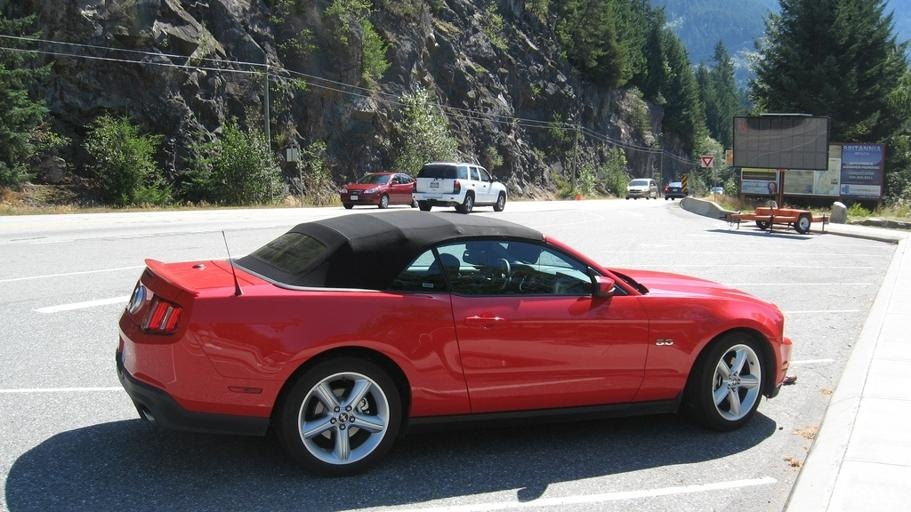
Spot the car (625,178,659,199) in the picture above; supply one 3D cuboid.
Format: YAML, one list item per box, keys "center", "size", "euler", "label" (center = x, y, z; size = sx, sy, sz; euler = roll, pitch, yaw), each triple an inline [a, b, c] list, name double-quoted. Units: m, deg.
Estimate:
- center: [20.604, -7.353, 71.549]
  size: [1.992, 1.687, 4.767]
  euler: [0, 0, 31]
  label: "car"

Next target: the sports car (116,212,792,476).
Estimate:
- center: [0.085, 0.883, 8.665]
  size: [7.888, 2.588, 3.351]
  euler: [-2, 3, -18]
  label: "sports car"

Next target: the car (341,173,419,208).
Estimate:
- center: [-3.959, -3.753, 37.654]
  size: [2.154, 1.511, 4.721]
  euler: [0, 0, 30]
  label: "car"

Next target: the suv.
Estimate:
- center: [0.522, -3.556, 33.392]
  size: [2.702, 2.108, 5.074]
  euler: [8, 13, 43]
  label: "suv"
